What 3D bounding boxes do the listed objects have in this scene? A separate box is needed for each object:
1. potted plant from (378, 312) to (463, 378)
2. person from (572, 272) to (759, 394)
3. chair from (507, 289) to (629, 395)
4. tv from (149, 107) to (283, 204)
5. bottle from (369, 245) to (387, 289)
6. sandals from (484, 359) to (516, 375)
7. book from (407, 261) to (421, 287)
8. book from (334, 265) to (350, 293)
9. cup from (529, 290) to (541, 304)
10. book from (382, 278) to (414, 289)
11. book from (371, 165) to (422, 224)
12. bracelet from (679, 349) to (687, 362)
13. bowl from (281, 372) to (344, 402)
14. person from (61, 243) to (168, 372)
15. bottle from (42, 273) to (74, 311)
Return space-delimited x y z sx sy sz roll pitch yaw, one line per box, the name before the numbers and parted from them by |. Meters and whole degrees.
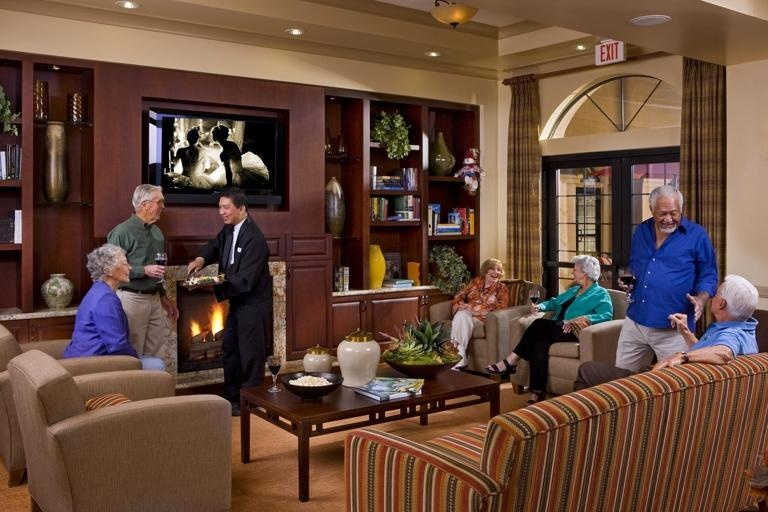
potted plant | 0.297 0.752 4.909 0.535 0.322 0.527 1 -10 -1
person | 1.803 0.670 3.721 0.890 1.090 0.450 11 3 35
chair | 2.027 0.964 5.945 0.816 0.920 0.899 3 -13 -29
tv | -1.881 -1.080 6.322 1.216 0.728 0.083 -1 5 -26
bottle | -0.107 0.140 7.306 0.109 0.526 0.268 1 5 44
sandals | 1.221 1.139 6.003 0.372 0.145 0.137 3 -6 -29
book | 0.386 0.230 7.586 0.061 0.253 0.250 -1 4 -35
book | -0.514 0.301 7.089 0.255 0.350 0.263 0 2 -22
cup | 1.484 0.410 5.768 0.072 0.161 0.270 -2 4 19
book | 0.169 0.355 7.414 0.384 0.109 0.202 -3 4 0
book | 0.162 -0.746 7.420 0.781 0.733 0.271 0 -1 -29
bracelet | 1.645 0.553 3.230 0.034 0.048 0.053 -6 7 -3
bowl | -0.524 0.964 4.308 0.429 0.181 0.305 -4 4 -9
person | -2.235 0.433 4.717 0.579 0.984 0.730 8 -3 38
bottle | -3.168 0.338 5.677 0.281 0.315 0.281 11 11 40
